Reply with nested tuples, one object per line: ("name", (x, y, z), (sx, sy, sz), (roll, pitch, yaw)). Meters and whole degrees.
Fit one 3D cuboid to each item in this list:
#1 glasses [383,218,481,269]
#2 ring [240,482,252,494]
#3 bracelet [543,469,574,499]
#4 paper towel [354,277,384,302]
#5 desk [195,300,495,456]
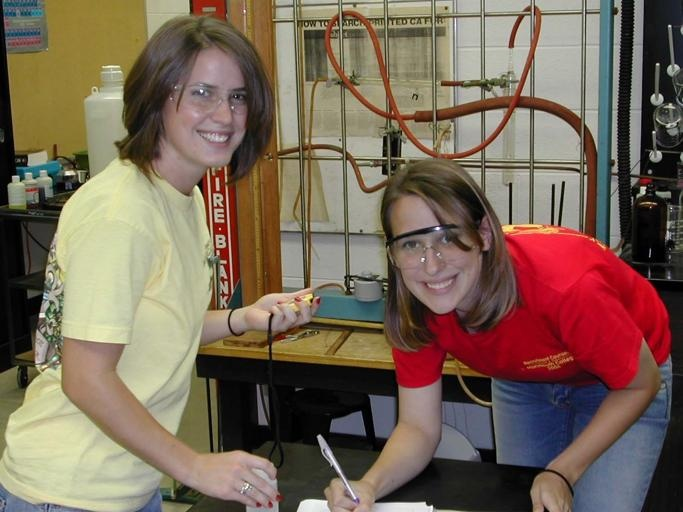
("glasses", (0.246, -0.029, 1.773), (0.216, 0.120, 0.063), (0, 6, 13))
("ring", (-0.215, 0.522, 1.512), (0.029, 0.022, 0.009), (-42, 14, -33))
("bracelet", (0.545, 0.563, 1.689), (0.068, 0.048, 0.037), (1, 6, 19))
("paper towel", (0.125, 0.126, 2.830), (0.096, 0.071, 0.094), (-5, 8, -41))
("desk", (-0.093, 0.671, 3.026), (0.928, 0.688, 0.553), (2, 14, 17))
